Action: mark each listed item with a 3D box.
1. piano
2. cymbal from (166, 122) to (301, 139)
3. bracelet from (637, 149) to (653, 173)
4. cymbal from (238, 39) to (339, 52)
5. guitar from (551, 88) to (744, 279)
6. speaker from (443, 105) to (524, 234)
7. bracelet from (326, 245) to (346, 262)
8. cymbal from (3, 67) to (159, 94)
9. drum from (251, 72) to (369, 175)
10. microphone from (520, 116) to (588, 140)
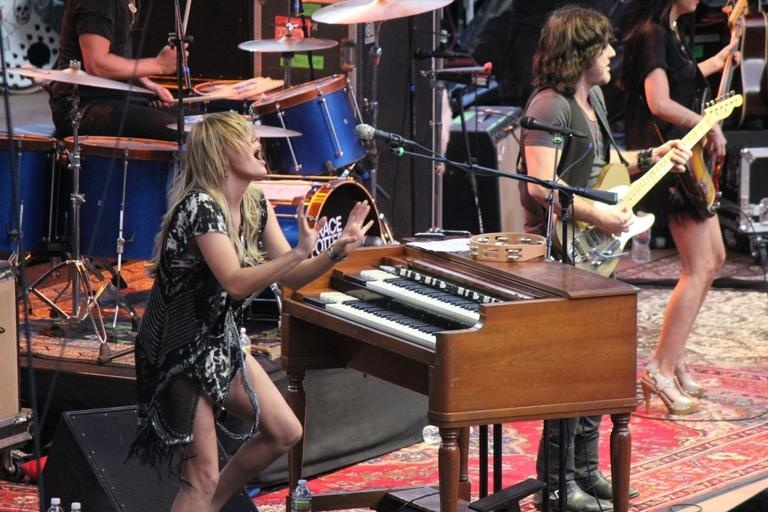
[{"bbox_3d":[0.382,0.415,4.172,1.428,1.489,1.877,-1,4,-31],"label":"piano"},{"bbox_3d":[-0.927,-0.928,6.165,0.542,0.121,0.526,-4,12,-18],"label":"cymbal"},{"bbox_3d":[1.573,-0.577,4.983,0.096,0.126,0.064,0,-8,39],"label":"bracelet"},{"bbox_3d":[-0.810,-1.776,6.916,0.417,0.096,0.405,-5,16,-13],"label":"cymbal"},{"bbox_3d":[1.834,-0.500,5.588,0.320,0.735,2.249,8,41,39],"label":"guitar"},{"bbox_3d":[0.964,-0.804,8.190,0.513,1.378,1.443,2,8,16],"label":"speaker"},{"bbox_3d":[-0.217,-0.006,3.734,0.083,0.083,0.053,7,0,-44],"label":"bracelet"},{"bbox_3d":[-2.057,-1.203,5.567,0.802,0.136,0.719,1,11,1],"label":"cymbal"},{"bbox_3d":[-0.512,-1.013,6.744,0.985,0.718,0.974,-17,13,4],"label":"drum"},{"bbox_3d":[0.886,-0.677,4.332,0.320,0.082,0.082,16,44,-12],"label":"microphone"}]
